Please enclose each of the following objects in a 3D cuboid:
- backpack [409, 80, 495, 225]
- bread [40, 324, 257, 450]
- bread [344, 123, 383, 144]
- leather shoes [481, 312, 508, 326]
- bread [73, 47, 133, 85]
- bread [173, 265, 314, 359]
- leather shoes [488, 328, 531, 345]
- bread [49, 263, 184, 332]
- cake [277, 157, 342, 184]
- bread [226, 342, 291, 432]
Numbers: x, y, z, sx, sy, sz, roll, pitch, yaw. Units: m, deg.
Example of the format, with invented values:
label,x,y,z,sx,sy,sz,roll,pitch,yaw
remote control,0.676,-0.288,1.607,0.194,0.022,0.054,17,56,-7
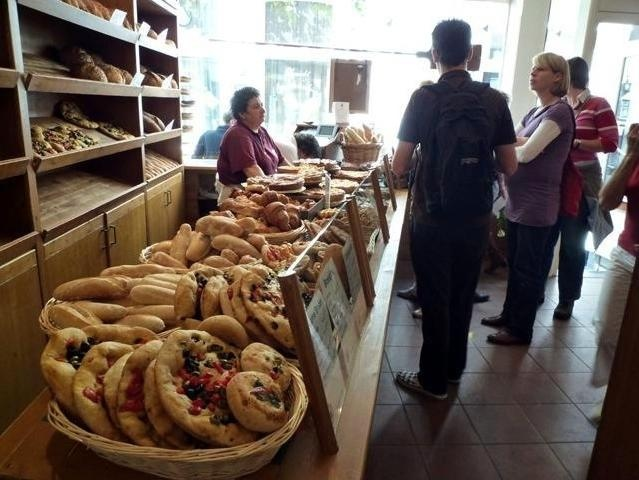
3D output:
label,x,y,z,sx,sy,sz,roll,pitch,yaw
backpack,0.700,-0.437,2.307,0.397,0.711,0.165,6,17,11
bread,-0.457,0.389,1.202,0.428,0.129,0.338,22,19,4
bread,0.376,-0.954,4.152,0.273,0.104,0.274,-1,11,-17
leather shoes,1.472,0.669,3.829,0.221,0.100,0.082,2,6,1
bread,-1.665,-1.289,3.419,0.306,0.094,0.317,33,19,5
bread,-0.297,0.266,1.533,0.320,0.112,0.327,9,39,-11
leather shoes,1.463,0.733,3.554,0.338,0.141,0.129,5,2,7
bread,-0.698,0.212,1.544,0.292,0.099,0.274,13,18,-1
cake,-0.057,-0.557,3.512,0.343,0.105,0.336,-10,14,-38
bread,-0.176,0.406,1.255,0.141,0.052,0.187,23,38,-24
